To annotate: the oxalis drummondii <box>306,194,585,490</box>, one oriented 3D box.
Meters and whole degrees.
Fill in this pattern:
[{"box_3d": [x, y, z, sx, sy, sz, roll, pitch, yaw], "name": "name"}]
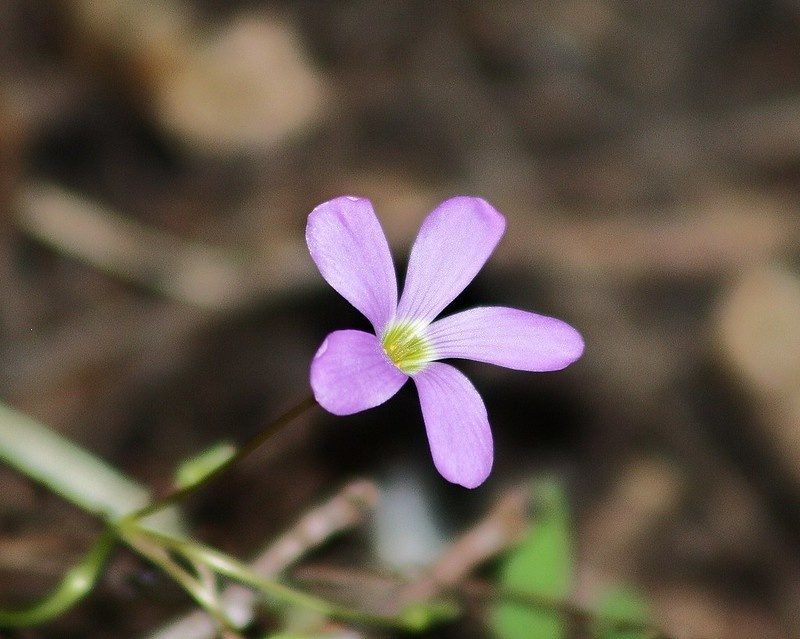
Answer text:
[{"box_3d": [0.044, 0.015, 0.874, 0.274, 0.138, 0.261, 5, 54, -22], "name": "oxalis drummondii"}]
